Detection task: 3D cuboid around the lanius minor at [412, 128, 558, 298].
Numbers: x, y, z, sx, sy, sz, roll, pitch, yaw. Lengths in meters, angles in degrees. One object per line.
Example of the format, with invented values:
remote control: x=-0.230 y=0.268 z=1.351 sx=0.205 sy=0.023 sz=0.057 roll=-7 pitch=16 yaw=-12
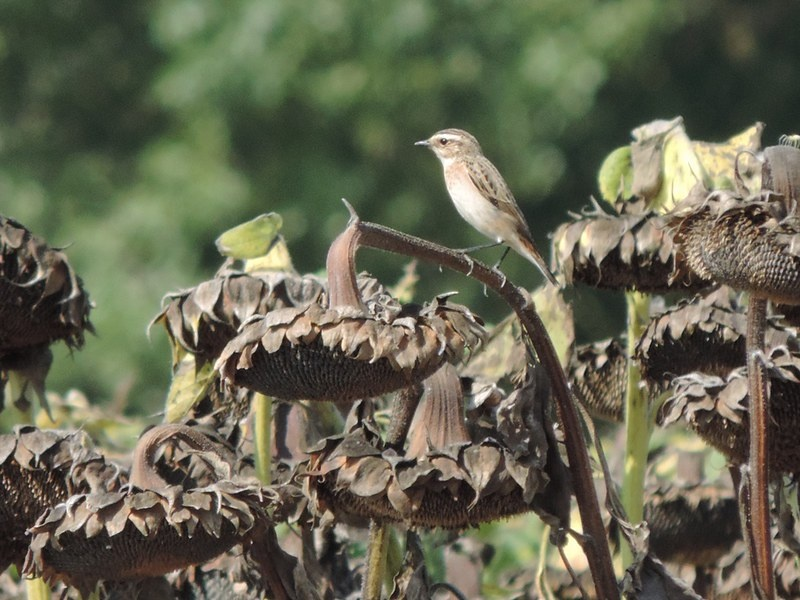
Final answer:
lanius minor: x=0.280 y=-0.299 z=6.022 sx=0.467 sy=0.194 sz=0.475 roll=6 pitch=73 yaw=-14
